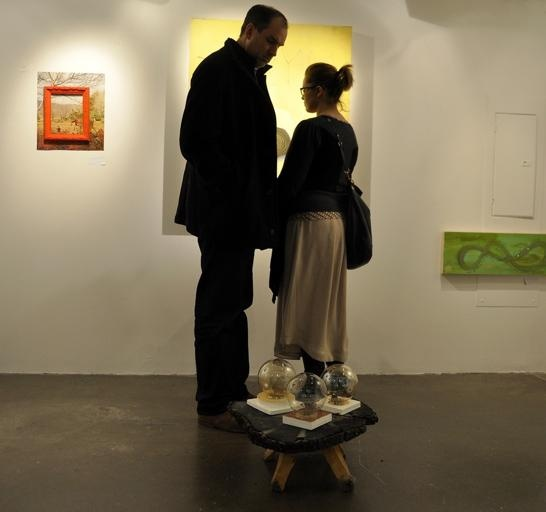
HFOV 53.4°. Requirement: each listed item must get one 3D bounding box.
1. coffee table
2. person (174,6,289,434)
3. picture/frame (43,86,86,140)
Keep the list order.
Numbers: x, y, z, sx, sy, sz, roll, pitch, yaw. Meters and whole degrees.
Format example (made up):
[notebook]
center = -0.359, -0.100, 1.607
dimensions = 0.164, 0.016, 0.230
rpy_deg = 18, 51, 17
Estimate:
[coffee table]
center = 0.185, 0.832, 2.438
dimensions = 0.561, 0.288, 0.693
rpy_deg = -8, 1, 7
[person]
center = -0.220, -0.185, 2.864
dimensions = 0.539, 2.188, 0.375
rpy_deg = 0, 3, -11
[picture/frame]
center = -1.484, -1.024, 3.910
dimensions = 0.318, 0.463, 0.043
rpy_deg = -2, -18, -17
